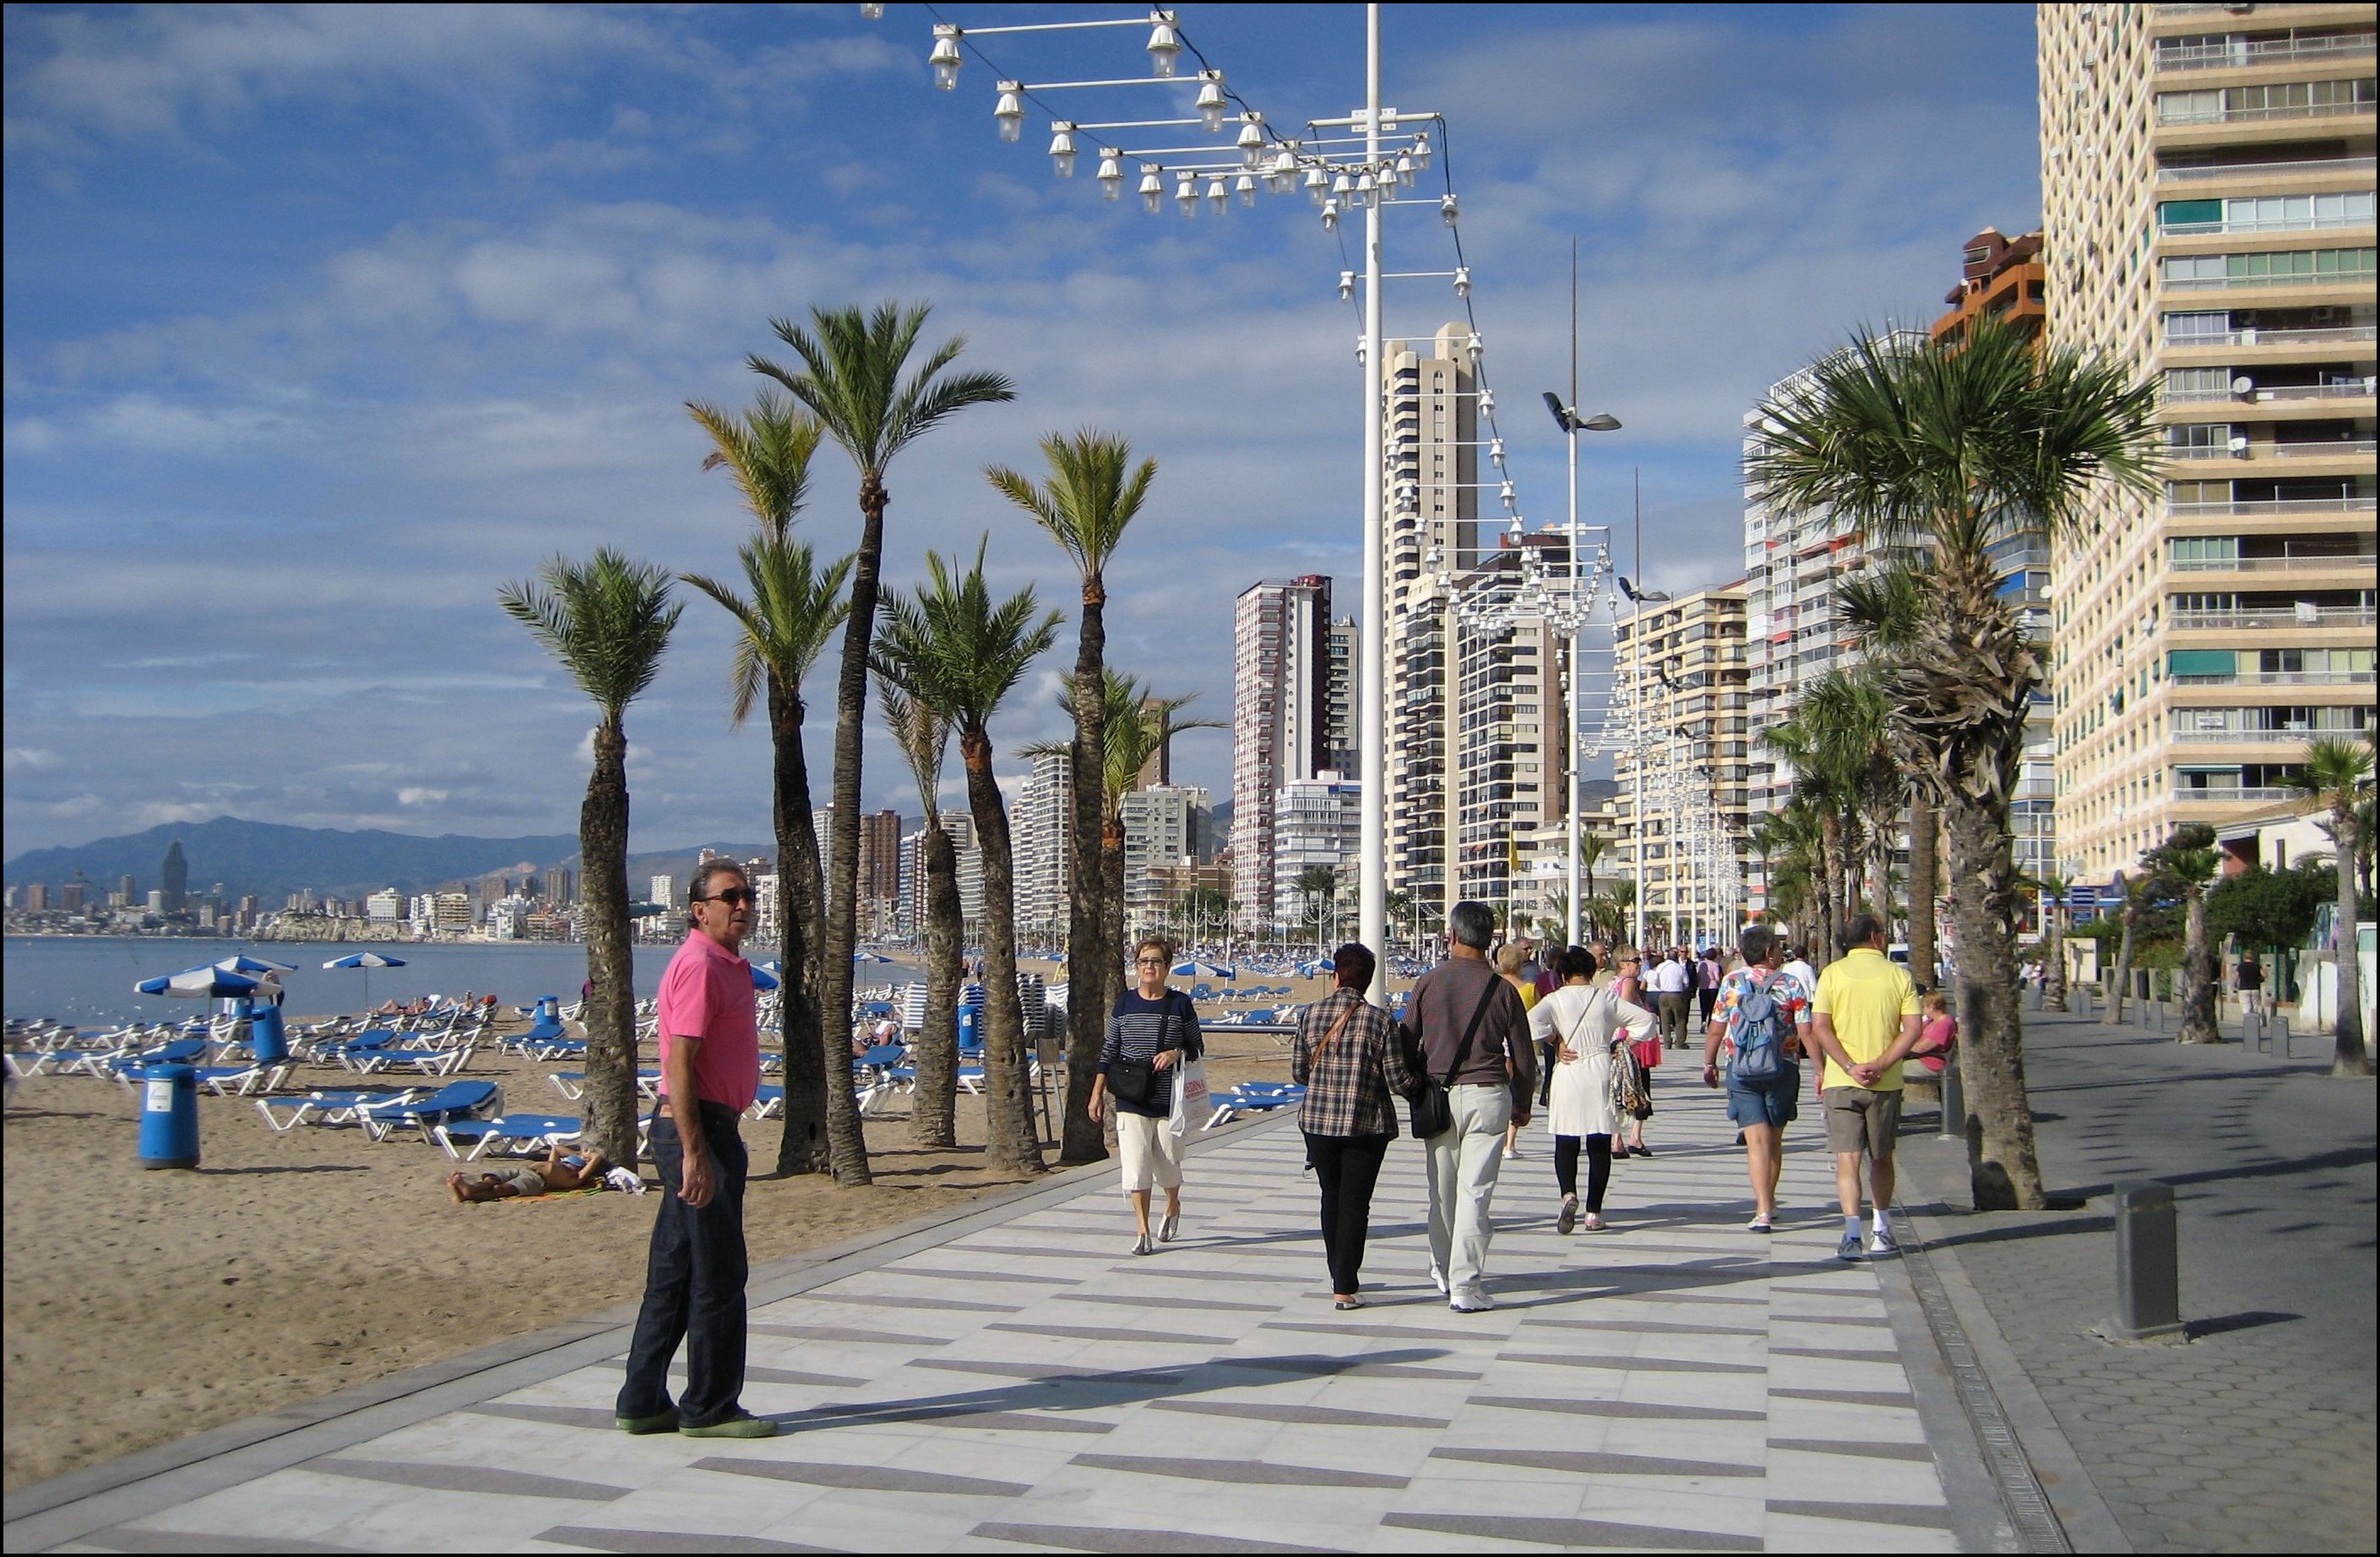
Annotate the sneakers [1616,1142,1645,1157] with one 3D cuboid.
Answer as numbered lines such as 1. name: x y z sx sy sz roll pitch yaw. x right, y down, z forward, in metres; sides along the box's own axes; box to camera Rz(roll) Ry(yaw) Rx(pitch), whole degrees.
1. sneakers: 4.807 4.051 25.133 0.329 0.124 0.119 18 -3 -40

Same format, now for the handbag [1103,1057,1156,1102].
1. handbag: -0.504 2.498 19.322 0.356 0.294 0.160 -5 11 13

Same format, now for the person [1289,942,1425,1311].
1. person: 1.282 2.691 18.177 0.865 2.777 1.380 -3 -6 2

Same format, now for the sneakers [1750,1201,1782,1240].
1. sneakers: 5.094 3.934 20.506 0.160 0.189 0.462 -1 -15 2

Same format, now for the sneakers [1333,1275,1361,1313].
1. sneakers: 1.177 3.910 17.664 0.214 0.262 0.222 -3 -6 1

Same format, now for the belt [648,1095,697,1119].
1. belt: -3.409 2.161 15.018 0.224 0.107 0.283 1 0 -4

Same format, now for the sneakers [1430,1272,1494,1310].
1. sneakers: 2.106 3.996 17.761 0.185 0.210 0.503 14 -18 22

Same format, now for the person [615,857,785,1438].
1. person: -3.273 2.401 15.183 0.890 3.700 1.126 -1 -6 -12
